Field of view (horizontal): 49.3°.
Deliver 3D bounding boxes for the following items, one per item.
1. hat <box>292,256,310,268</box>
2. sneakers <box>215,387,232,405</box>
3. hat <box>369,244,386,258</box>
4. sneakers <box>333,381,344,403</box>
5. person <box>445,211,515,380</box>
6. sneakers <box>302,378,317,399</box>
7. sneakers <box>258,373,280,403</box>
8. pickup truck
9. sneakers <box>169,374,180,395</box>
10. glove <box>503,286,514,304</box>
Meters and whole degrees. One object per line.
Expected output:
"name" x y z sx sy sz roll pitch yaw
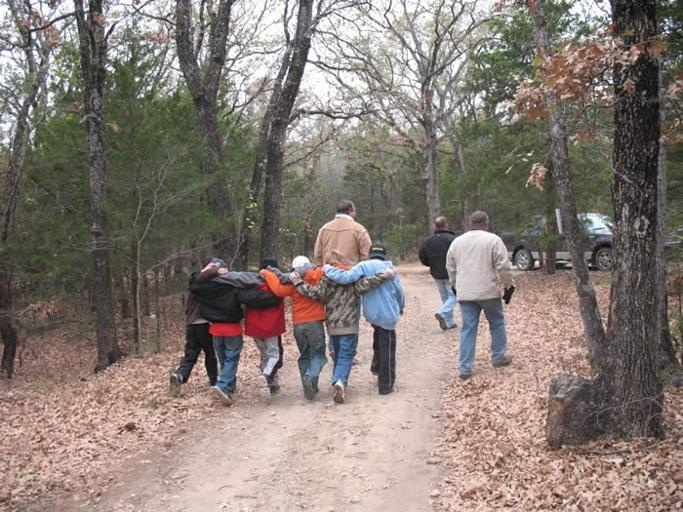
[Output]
"hat" -0.673 0.098 12.009 0.169 0.161 0.235 -5 -6 -16
"sneakers" -1.905 2.269 12.007 0.102 0.284 0.126 -38 0 4
"hat" 0.600 -0.095 12.239 0.187 0.257 0.252 10 9 -3
"sneakers" -0.042 2.166 11.786 0.125 0.373 0.163 0 2 10
"person" 2.318 0.640 12.401 1.036 2.803 0.583 -3 0 8
"sneakers" -0.503 2.111 11.875 0.162 0.411 0.169 1 4 5
"sneakers" -1.183 2.202 12.240 0.184 0.602 0.250 13 46 28
"pickup truck" 6.311 -0.288 21.805 1.648 1.649 3.623 1 -5 -43
"sneakers" -2.762 2.138 12.282 0.131 0.451 0.177 -1 -1 20
"glove" 2.751 0.704 12.289 0.075 0.330 0.320 13 18 21
